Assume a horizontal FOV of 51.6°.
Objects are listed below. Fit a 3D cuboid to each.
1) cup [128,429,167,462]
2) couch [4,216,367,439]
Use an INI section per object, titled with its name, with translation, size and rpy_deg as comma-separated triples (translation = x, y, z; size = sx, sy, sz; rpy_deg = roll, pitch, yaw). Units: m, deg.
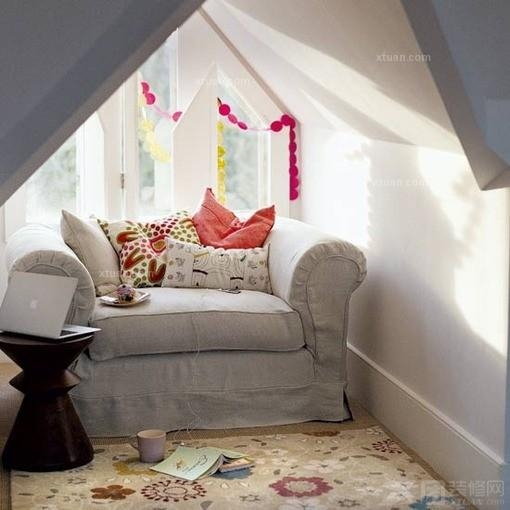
[cup]
translation = -0.403, 0.713, 1.986
size = 0.091, 0.088, 0.138
rpy_deg = 1, -8, -24
[couch]
translation = -0.287, 0.543, 2.698
size = 1.559, 0.979, 0.905
rpy_deg = 0, 5, -12
